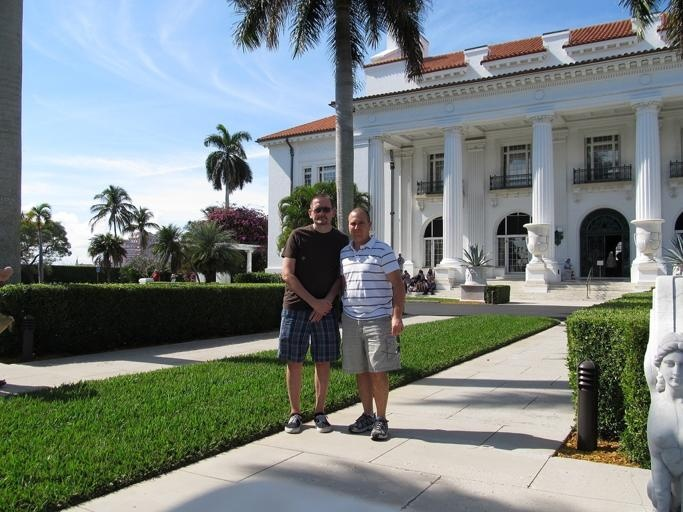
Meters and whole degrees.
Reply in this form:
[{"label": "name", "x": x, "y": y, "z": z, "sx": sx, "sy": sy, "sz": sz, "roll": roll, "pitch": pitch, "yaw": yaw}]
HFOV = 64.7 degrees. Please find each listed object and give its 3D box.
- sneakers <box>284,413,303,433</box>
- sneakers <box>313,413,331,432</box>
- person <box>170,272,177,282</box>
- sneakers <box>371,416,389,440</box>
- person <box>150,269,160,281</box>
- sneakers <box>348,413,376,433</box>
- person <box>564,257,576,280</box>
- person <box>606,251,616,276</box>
[{"label": "sneakers", "x": -0.552, "y": 1.882, "z": 6.143, "sx": 0.179, "sy": 0.183, "sz": 0.289, "roll": 0, "pitch": 2, "yaw": -3}, {"label": "sneakers", "x": -0.212, "y": 1.887, "z": 6.130, "sx": 0.193, "sy": 0.169, "sz": 0.202, "roll": 0, "pitch": 2, "yaw": -3}, {"label": "person", "x": -14.713, "y": 1.750, "z": 47.259, "sx": 0.464, "sy": 0.739, "sz": 2.686, "roll": 0, "pitch": 2, "yaw": -18}, {"label": "sneakers", "x": 0.417, "y": 1.872, "z": 5.910, "sx": 0.199, "sy": 0.210, "sz": 0.266, "roll": 1, "pitch": 2, "yaw": 4}, {"label": "person", "x": -17.996, "y": 1.828, "z": 51.905, "sx": 0.674, "sy": 1.000, "sz": 1.603, "roll": 1, "pitch": -9, "yaw": -16}, {"label": "sneakers", "x": 0.230, "y": 1.888, "z": 6.095, "sx": 0.137, "sy": 0.188, "sz": 0.356, "roll": -6, "pitch": -12, "yaw": 39}, {"label": "person", "x": 13.307, "y": 0.739, "z": 31.608, "sx": 0.683, "sy": 1.198, "sz": 1.832, "roll": 1, "pitch": 2, "yaw": 24}, {"label": "person", "x": 16.395, "y": 0.435, "z": 32.755, "sx": 0.591, "sy": 1.601, "sz": 1.141, "roll": 1, "pitch": 2, "yaw": 28}]
